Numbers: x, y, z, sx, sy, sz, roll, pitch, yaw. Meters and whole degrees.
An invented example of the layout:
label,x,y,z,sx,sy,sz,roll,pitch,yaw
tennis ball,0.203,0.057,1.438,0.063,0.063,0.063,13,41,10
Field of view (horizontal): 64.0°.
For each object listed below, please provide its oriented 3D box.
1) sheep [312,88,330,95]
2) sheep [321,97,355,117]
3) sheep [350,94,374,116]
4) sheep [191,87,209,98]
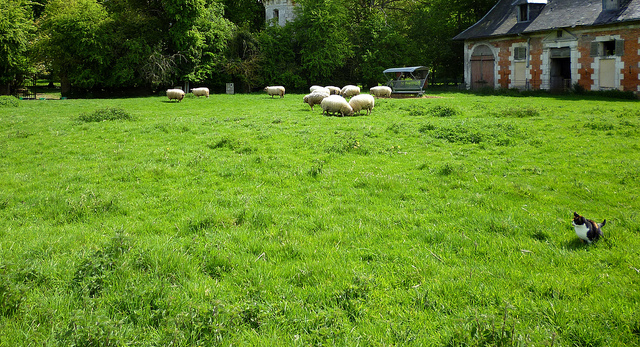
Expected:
label,x,y,z,sx,sy,sz,roll,pitch,yaw
sheep,0.213,-7.442,45.777,1.420,0.592,1.362,0,4,6
sheep,1.146,-4.696,35.938,2.589,1.312,1.040,11,28,-8
sheep,2.789,-4.899,37.022,2.313,1.480,1.031,-11,11,-21
sheep,-12.961,-8.772,55.421,2.198,1.061,1.034,5,20,9
